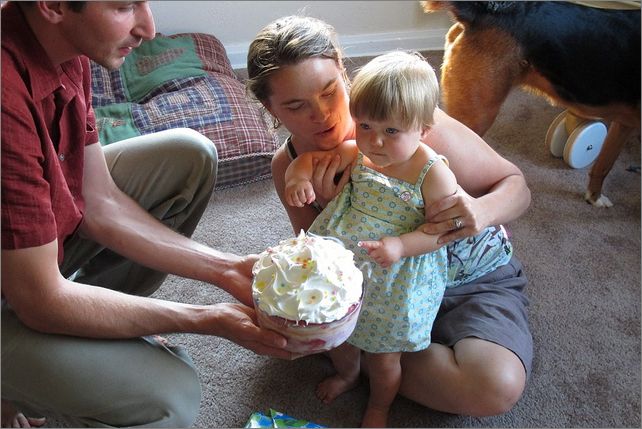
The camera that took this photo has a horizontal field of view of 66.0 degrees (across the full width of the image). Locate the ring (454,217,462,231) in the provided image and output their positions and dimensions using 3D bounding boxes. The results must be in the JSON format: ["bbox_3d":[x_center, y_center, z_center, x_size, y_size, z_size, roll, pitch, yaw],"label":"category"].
[{"bbox_3d":[0.422,0.028,1.522,0.030,0.036,0.013,-13,1,-33],"label":"ring"}]

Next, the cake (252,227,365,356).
[{"bbox_3d":[-0.034,0.197,1.381,0.280,0.271,0.309,0,44,-1],"label":"cake"}]
